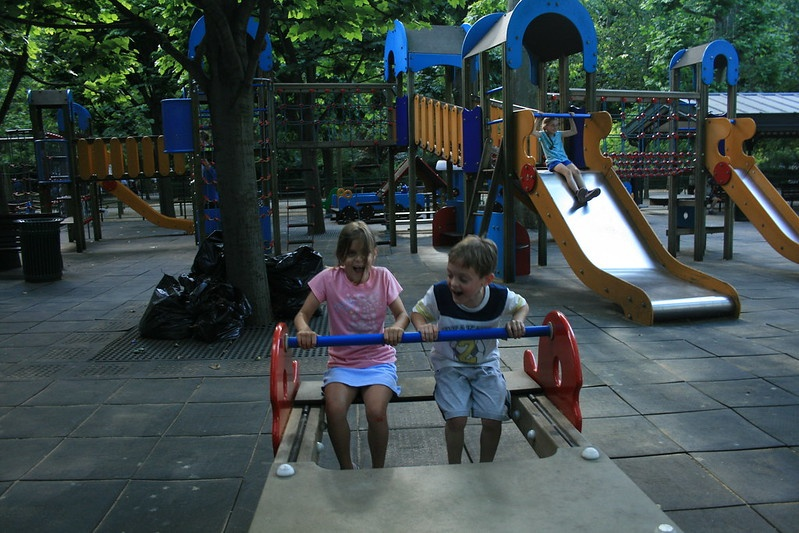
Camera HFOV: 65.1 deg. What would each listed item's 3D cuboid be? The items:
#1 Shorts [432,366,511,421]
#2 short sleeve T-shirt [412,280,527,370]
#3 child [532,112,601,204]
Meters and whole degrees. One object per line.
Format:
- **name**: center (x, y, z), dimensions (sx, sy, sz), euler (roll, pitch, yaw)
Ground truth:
- **Shorts**: center (0.507, 0.861, 4.317), dimensions (0.476, 0.391, 0.258), euler (4, -17, 0)
- **short sleeve T-shirt**: center (0.510, 0.463, 4.547), dimensions (0.964, 0.674, 0.371), euler (0, 2, -1)
- **child**: center (2.516, -1.664, 9.753), dimensions (0.505, 1.385, 1.442), euler (-5, 11, -17)
